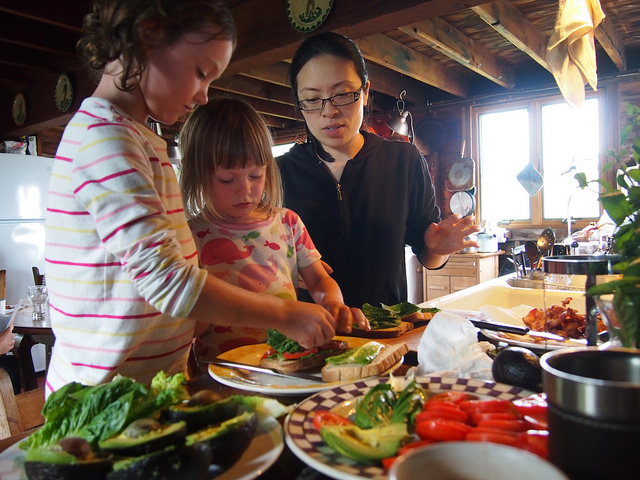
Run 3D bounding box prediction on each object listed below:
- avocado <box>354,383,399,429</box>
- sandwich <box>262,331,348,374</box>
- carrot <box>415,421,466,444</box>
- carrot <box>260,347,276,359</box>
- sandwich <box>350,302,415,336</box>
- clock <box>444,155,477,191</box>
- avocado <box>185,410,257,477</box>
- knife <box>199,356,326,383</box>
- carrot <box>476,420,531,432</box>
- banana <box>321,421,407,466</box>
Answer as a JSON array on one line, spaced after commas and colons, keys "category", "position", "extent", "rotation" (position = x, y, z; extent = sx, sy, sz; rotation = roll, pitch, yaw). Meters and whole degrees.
[{"category": "avocado", "position": [0.097, 0.271, 0.759], "extent": [0.088, 0.033, 0.111], "rotation": [-2, 8, 0]}, {"category": "sandwich", "position": [-0.039, 0.256, 1.150], "extent": [0.162, 0.056, 0.116], "rotation": [-1, 2, -41]}, {"category": "carrot", "position": [0.181, 0.280, 0.670], "extent": [0.061, 0.024, 0.061], "rotation": [-3, -12, 16]}, {"category": "carrot", "position": [-0.132, 0.292, 1.191], "extent": [0.017, 0.008, 0.031], "rotation": [0, 21, 31]}, {"category": "sandwich", "position": [0.201, 0.267, 1.512], "extent": [0.213, 0.050, 0.236], "rotation": [-13, 6, 30]}, {"category": "clock", "position": [1.744, -0.822, 5.618], "extent": [0.440, 0.407, 0.105], "rotation": [7, 11, 41]}, {"category": "avocado", "position": [-0.149, 0.302, 0.667], "extent": [0.060, 0.070, 0.128], "rotation": [-2, -2, 35]}, {"category": "knife", "position": [-0.127, 0.306, 1.081], "extent": [0.301, 0.014, 0.040], "rotation": [4, 6, 16]}, {"category": "carrot", "position": [0.282, 0.281, 0.696], "extent": [0.078, 0.009, 0.025], "rotation": [-1, -2, -8]}, {"category": "banana", "position": [0.067, 0.285, 0.645], "extent": [0.065, 0.029, 0.085], "rotation": [-27, 31, -20]}]
